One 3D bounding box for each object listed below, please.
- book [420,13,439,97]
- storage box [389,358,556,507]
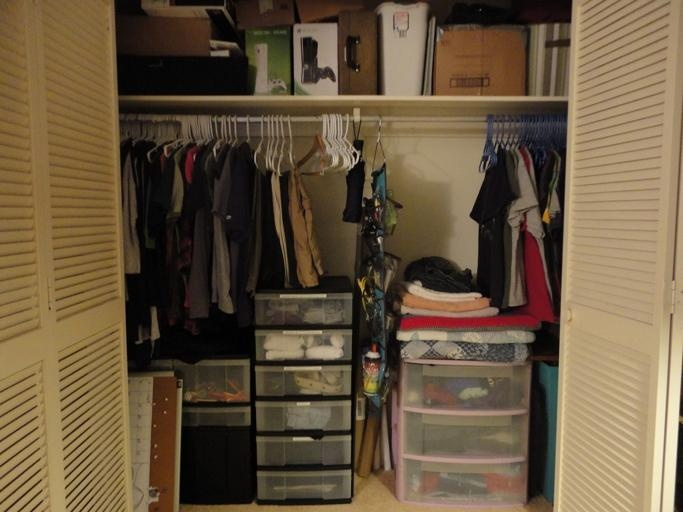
[{"bbox_3d":[0.444,-0.992,3.158,0.070,0.330,0.292,4,7,6],"label":"book"},{"bbox_3d":[0.673,0.760,3.358,0.806,0.894,0.631,1,-2,6],"label":"storage box"}]
